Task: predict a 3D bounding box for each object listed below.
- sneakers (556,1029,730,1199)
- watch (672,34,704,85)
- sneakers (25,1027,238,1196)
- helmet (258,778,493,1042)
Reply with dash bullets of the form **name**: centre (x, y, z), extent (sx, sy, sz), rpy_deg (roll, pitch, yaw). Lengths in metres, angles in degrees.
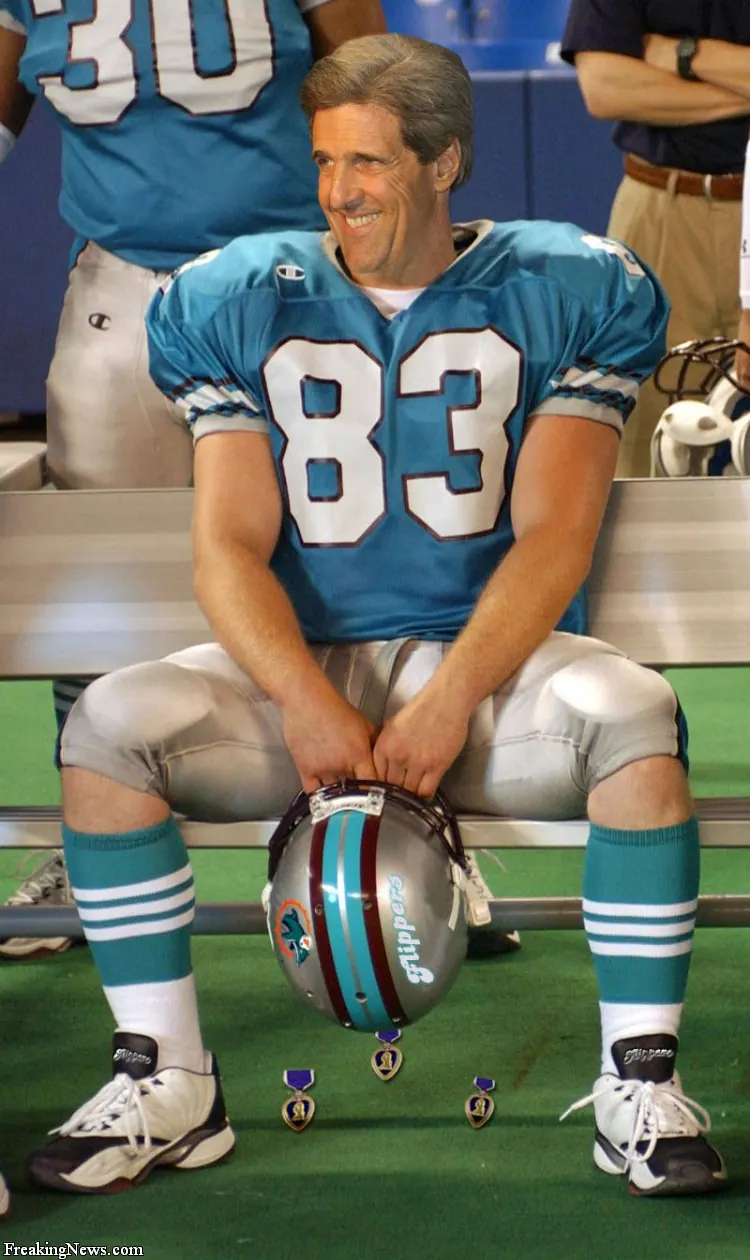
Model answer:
- **sneakers**: centre (0.203, 0.414, 0.962), extent (0.093, 0.105, 0.159), rpy_deg (-2, -13, -16)
- **watch**: centre (0.611, -1.136, 2.217), extent (0.052, 0.082, 0.085), rpy_deg (7, -5, 13)
- **sneakers**: centre (-0.212, 0.413, 1.012), extent (0.079, 0.123, 0.207), rpy_deg (0, 2, 41)
- **helmet**: centre (-0.009, 0.226, 0.928), extent (0.160, 0.164, 0.148), rpy_deg (-3, 31, 4)
